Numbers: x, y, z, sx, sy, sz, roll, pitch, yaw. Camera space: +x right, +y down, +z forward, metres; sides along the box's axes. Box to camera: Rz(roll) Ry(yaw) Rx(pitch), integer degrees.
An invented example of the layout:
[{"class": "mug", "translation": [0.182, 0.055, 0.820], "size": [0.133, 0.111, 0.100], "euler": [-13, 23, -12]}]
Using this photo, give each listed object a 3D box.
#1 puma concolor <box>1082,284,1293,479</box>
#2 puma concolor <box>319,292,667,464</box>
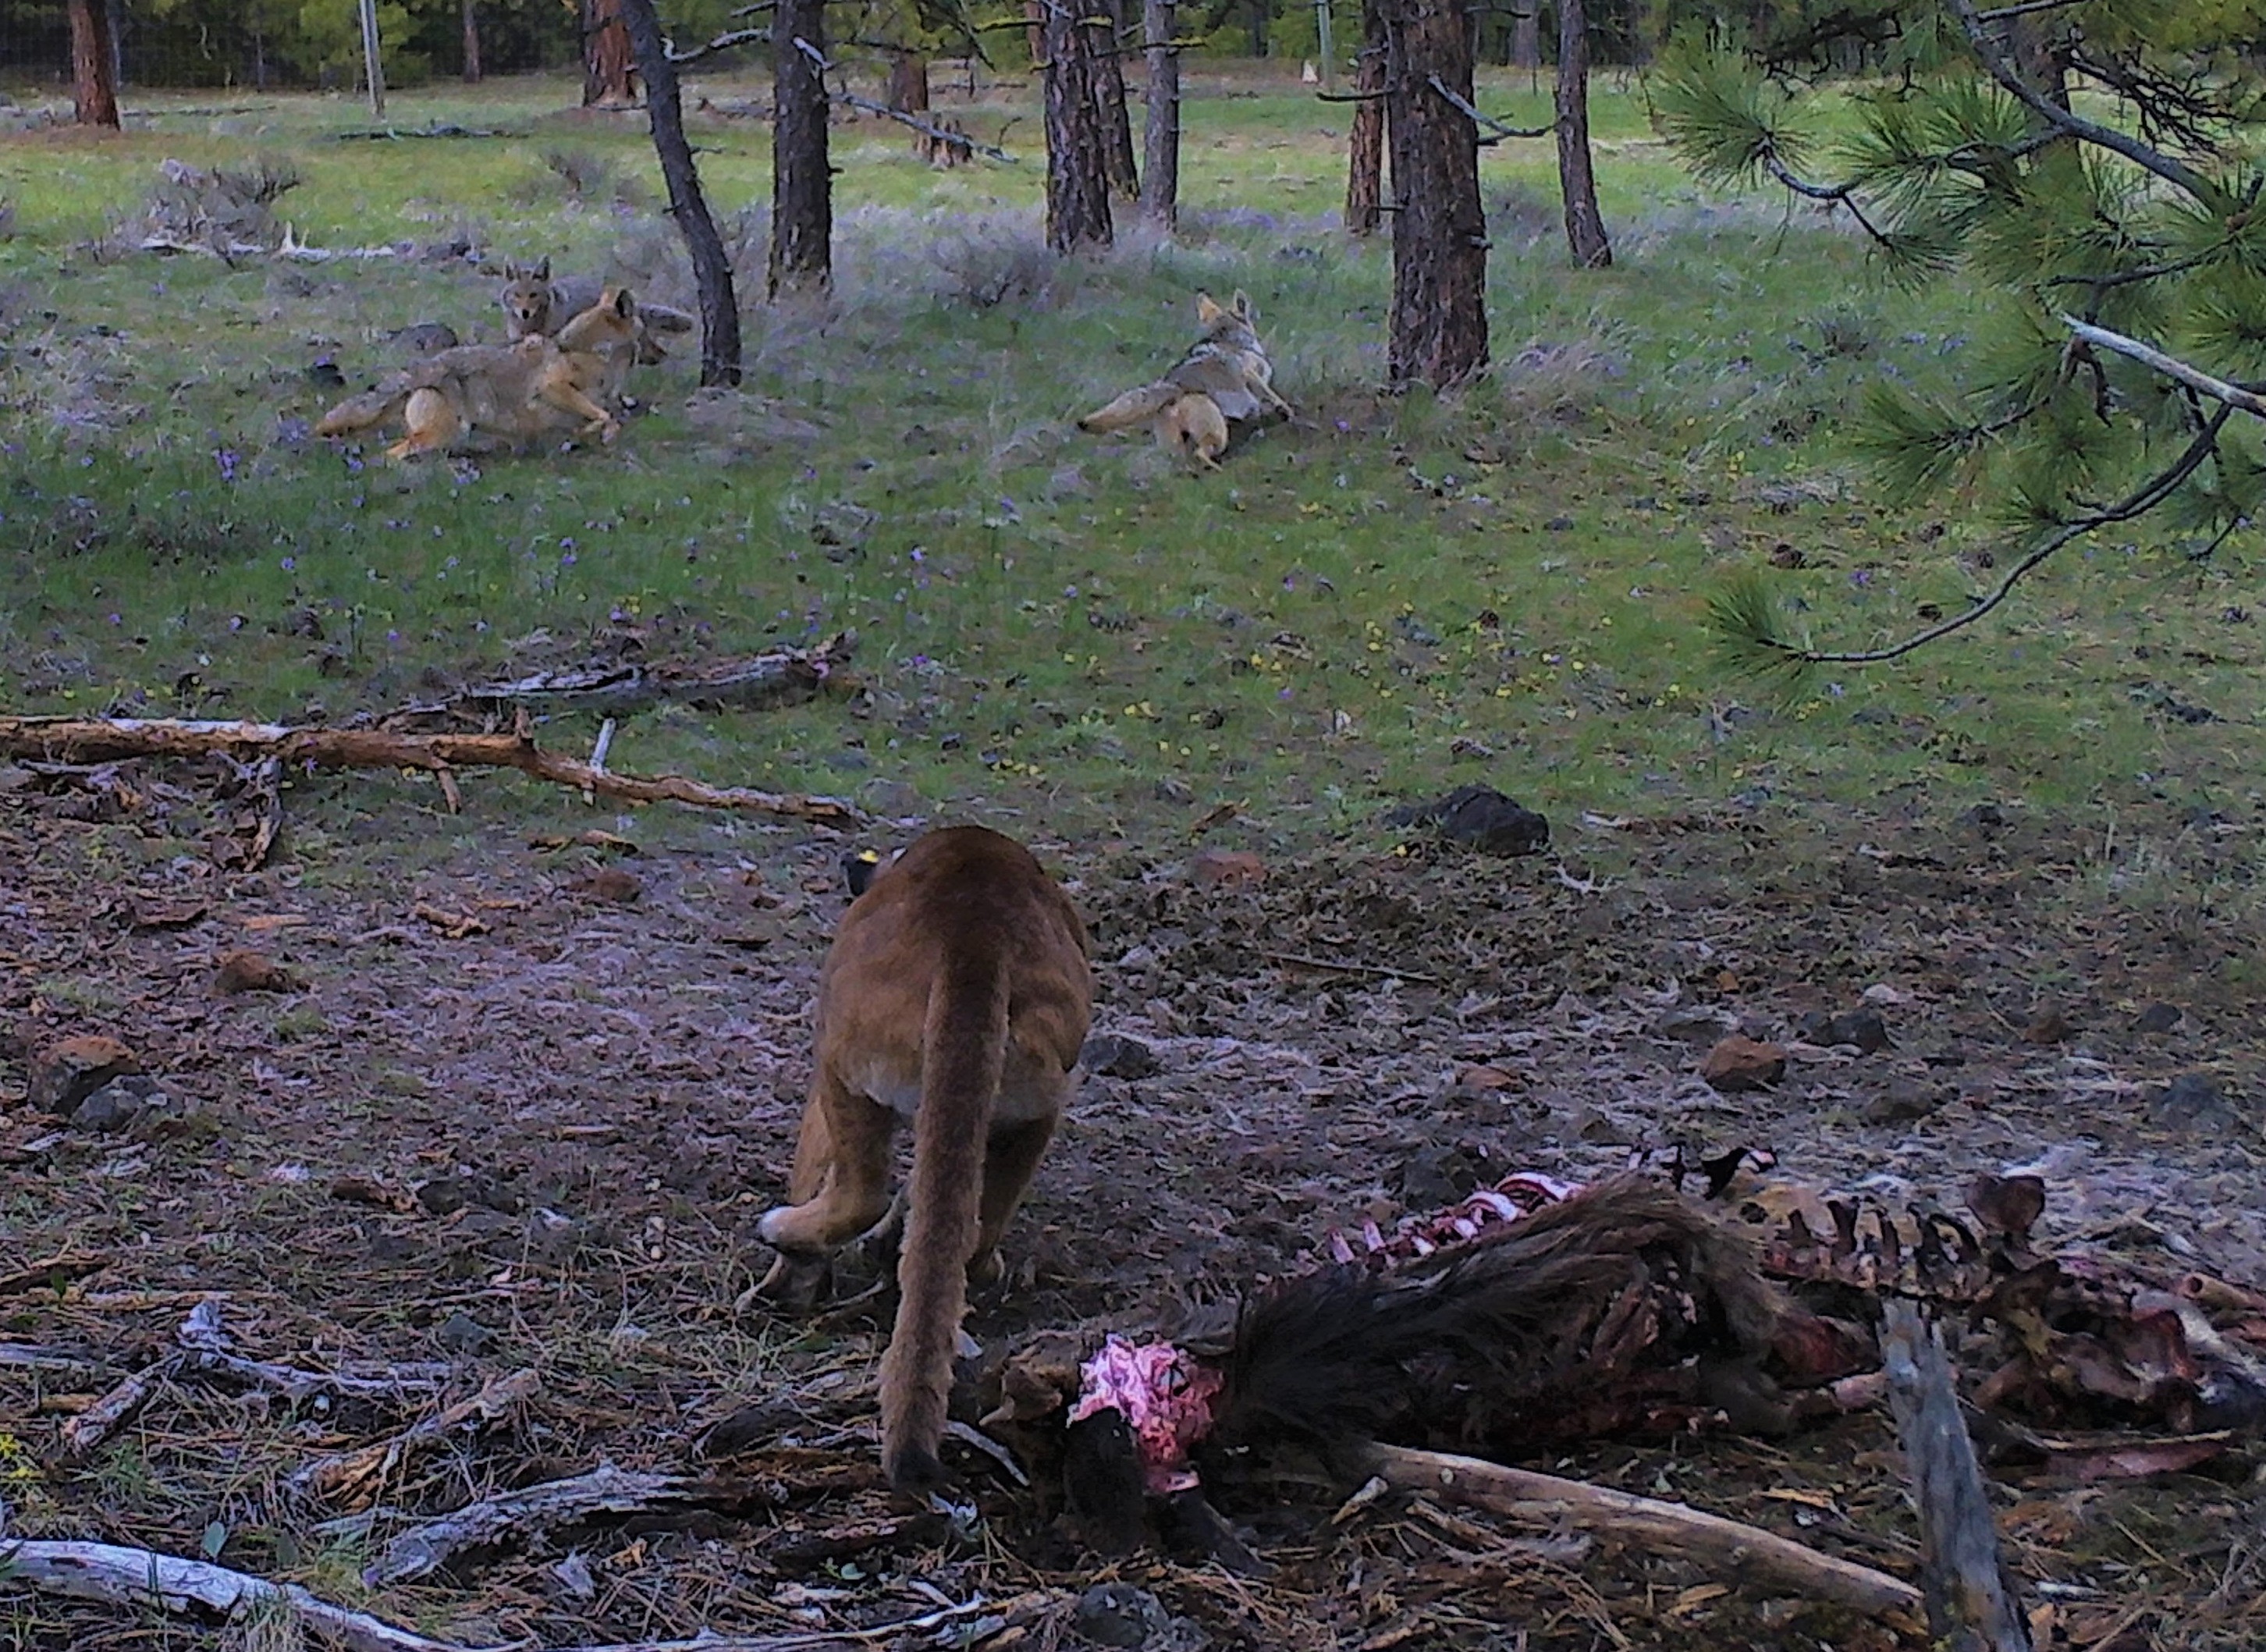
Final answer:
[{"class": "puma concolor", "translation": [0.539, -3.080, 18.431], "size": [1.010, 0.931, 1.471], "euler": [3, 15, 21]}, {"class": "puma concolor", "translation": [-4.401, -3.091, 18.259], "size": [2.425, 1.217, 0.565], "euler": [-15, 40, -27]}]
